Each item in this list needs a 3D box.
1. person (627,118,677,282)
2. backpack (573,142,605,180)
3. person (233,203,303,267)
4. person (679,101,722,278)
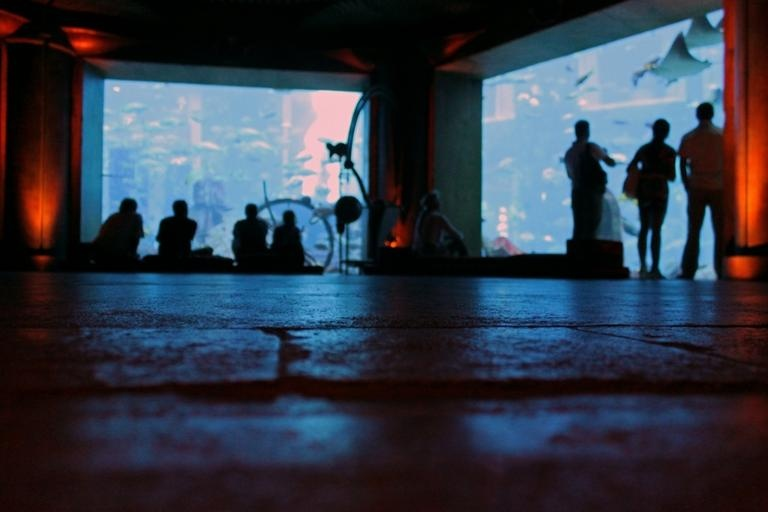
[{"bbox_3d":[2.108,-0.447,5.607,0.388,1.231,0.265,0,1,-18],"label":"person"},{"bbox_3d":[1.779,-0.825,6.217,0.181,0.282,0.323,-8,11,-26],"label":"backpack"},{"bbox_3d":[-1.210,-0.207,7.074,0.647,0.687,0.812,1,7,-4],"label":"person"},{"bbox_3d":[2.491,-0.523,5.631,0.336,1.376,0.455,0,1,19],"label":"person"}]
